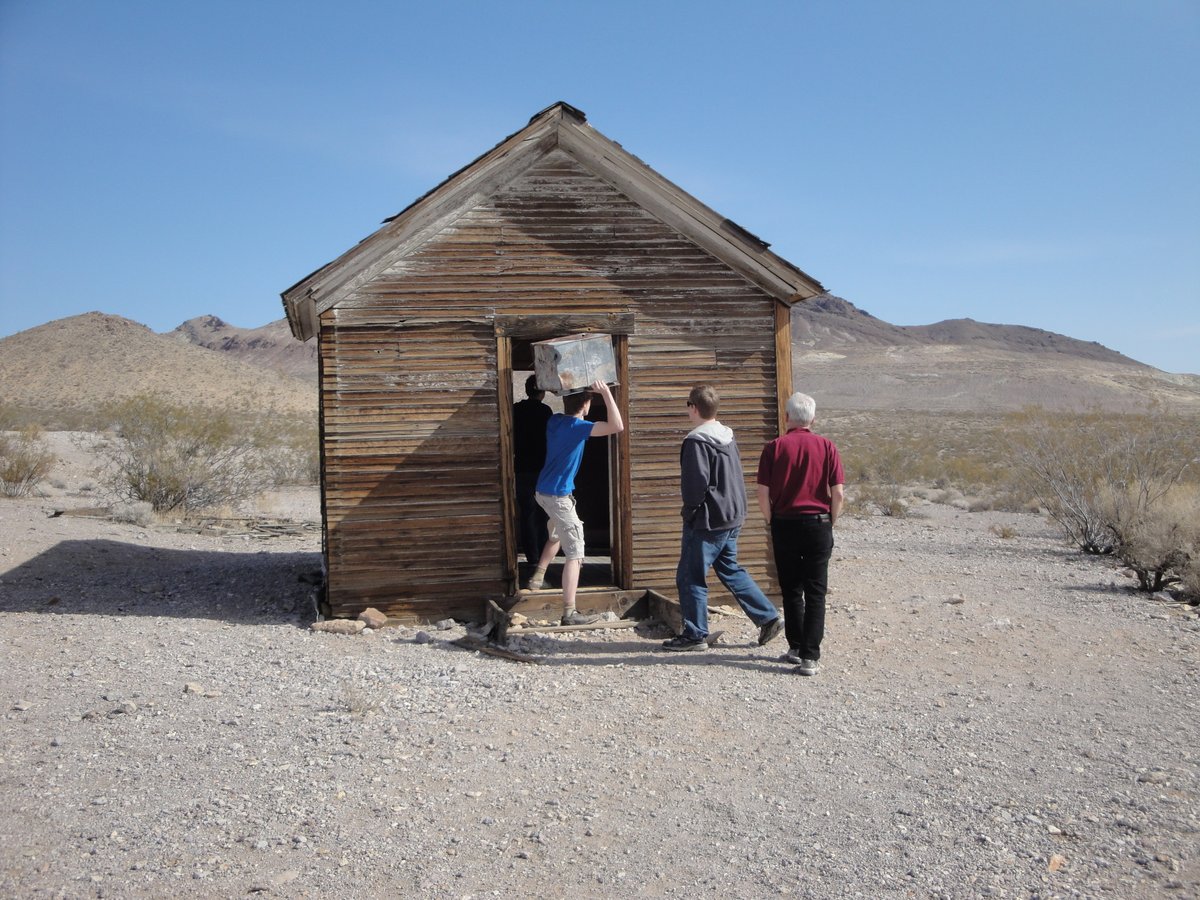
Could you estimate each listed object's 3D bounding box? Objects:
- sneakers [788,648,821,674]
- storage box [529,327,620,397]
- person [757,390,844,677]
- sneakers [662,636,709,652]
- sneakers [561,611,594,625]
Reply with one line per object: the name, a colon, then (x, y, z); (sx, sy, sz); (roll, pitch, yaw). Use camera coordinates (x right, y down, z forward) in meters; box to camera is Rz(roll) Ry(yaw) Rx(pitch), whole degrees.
sneakers: (1.650, 1.718, 7.990); (0.129, 0.114, 0.285); (0, 5, 2)
storage box: (-0.238, -0.807, 9.035); (0.678, 0.440, 0.394); (-16, 19, -37)
person: (1.637, 0.672, 7.990); (0.645, 2.274, 0.669); (8, 15, 32)
sneakers: (0.745, 1.656, 8.430); (0.416, 0.155, 0.143); (2, 0, 3)
sneakers: (-0.178, 1.563, 9.082); (0.352, 0.123, 0.114); (0, 1, -26)
